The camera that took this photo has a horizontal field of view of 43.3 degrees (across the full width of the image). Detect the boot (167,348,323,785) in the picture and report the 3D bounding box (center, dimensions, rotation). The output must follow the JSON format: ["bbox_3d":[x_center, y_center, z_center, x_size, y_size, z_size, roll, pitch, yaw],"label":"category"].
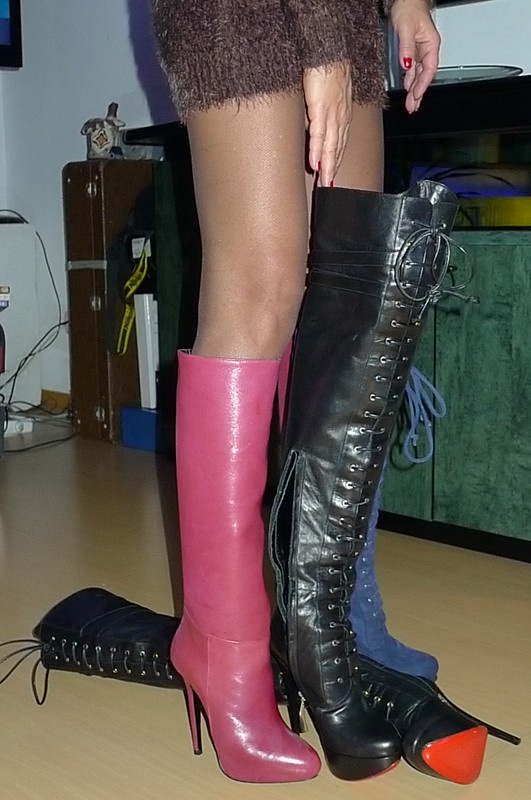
[{"bbox_3d":[-0.021,0.138,0.559,0.146,0.351,0.074,4,9,29],"label":"boot"}]
